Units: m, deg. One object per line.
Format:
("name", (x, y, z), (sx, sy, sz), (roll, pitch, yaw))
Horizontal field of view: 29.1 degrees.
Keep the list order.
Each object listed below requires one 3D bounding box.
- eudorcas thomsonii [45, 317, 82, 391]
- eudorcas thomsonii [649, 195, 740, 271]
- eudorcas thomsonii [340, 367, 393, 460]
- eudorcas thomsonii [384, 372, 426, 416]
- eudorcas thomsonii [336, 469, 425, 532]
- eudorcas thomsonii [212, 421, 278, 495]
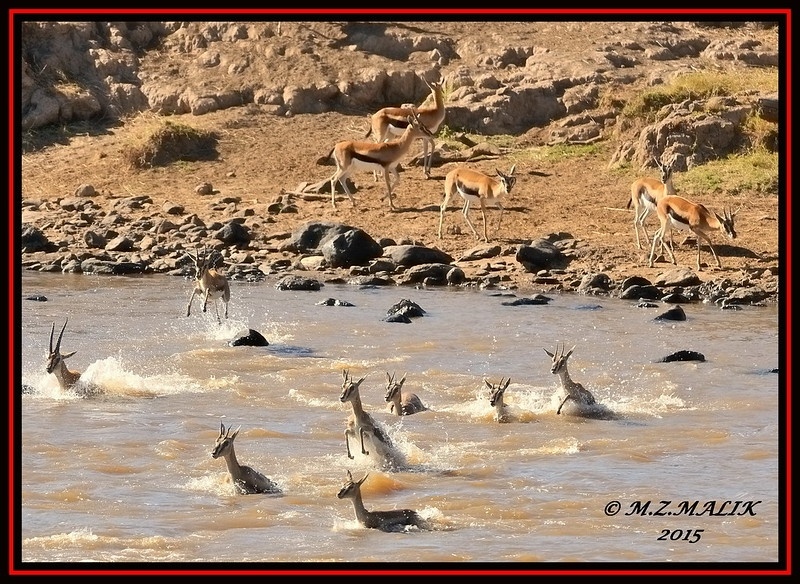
("eudorcas thomsonii", (-5.860, 0.841, 26.606), (0.561, 1.013, 2.894), (-3, 14, -13))
("eudorcas thomsonii", (6.559, -1.440, 34.644), (1.850, 1.491, 1.992), (2, 14, 9))
("eudorcas thomsonii", (-0.518, 1.892, 23.299), (0.803, 1.247, 0.730), (2, 13, 8))
("eudorcas thomsonii", (0.063, 1.791, 25.225), (0.424, 0.926, 1.229), (-1, -6, 24))
("eudorcas thomsonii", (-0.264, 3.150, 21.913), (1.304, 1.107, 0.482), (3, -13, -27))
("eudorcas thomsonii", (-2.282, 2.685, 22.634), (0.392, 1.191, 1.218), (-23, -37, 34))
